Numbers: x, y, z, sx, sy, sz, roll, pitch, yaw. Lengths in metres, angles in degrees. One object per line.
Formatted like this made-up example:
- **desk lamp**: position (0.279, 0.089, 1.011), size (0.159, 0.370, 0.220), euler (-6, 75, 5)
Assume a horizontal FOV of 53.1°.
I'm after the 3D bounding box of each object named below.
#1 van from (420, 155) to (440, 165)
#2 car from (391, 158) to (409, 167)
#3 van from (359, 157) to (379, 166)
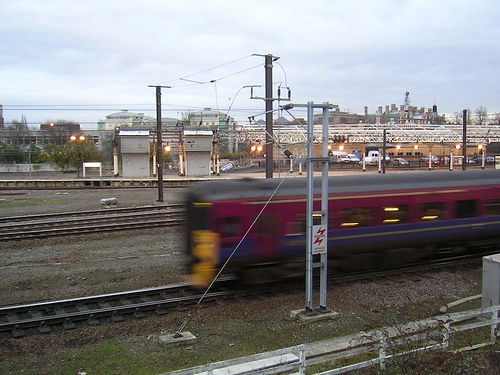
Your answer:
- **van**: position (29.507, -4.378, 80.523), size (1.936, 1.366, 3.256), euler (2, 14, 17)
- **car**: position (22.508, -3.868, 75.611), size (1.485, 1.110, 2.361), euler (-1, 0, -23)
- **van**: position (18.547, -4.054, 76.510), size (2.236, 0.870, 3.161), euler (1, 3, 19)
